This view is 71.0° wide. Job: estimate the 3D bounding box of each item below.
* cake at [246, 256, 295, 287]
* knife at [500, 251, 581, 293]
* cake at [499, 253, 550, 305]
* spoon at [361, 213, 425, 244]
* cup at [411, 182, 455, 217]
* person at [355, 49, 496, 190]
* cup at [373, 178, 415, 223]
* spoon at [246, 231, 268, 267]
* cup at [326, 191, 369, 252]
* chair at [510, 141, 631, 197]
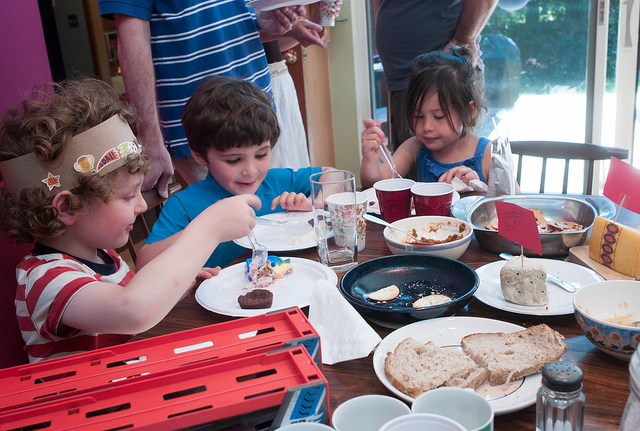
[{"bbox_3d":[-0.163,0.165,1.398,0.114,0.041,0.084,-18,36,-31],"label":"cake"},{"bbox_3d":[0.601,0.156,1.222,0.182,0.009,0.026,32,46,23],"label":"knife"},{"bbox_3d":[0.537,0.191,1.172,0.114,0.091,0.046,-18,-31,33],"label":"cake"},{"bbox_3d":[0.255,0.045,1.559,0.218,0.040,0.031,19,34,-25],"label":"spoon"},{"bbox_3d":[0.409,-0.062,1.677,0.120,0.121,0.141,5,19,38],"label":"cup"},{"bbox_3d":[0.595,-0.505,2.416,0.600,0.717,1.191,2,21,20],"label":"person"},{"bbox_3d":[0.280,-0.059,1.752,0.163,0.158,0.159,-4,14,1],"label":"cup"},{"bbox_3d":[-0.197,0.108,1.425,0.038,0.033,0.184,-23,28,1],"label":"spoon"},{"bbox_3d":[0.096,0.000,1.511,0.125,0.209,0.110,-6,18,-23],"label":"cup"},{"bbox_3d":[1.463,-0.278,2.608,0.454,0.430,0.314,12,37,27],"label":"chair"}]
